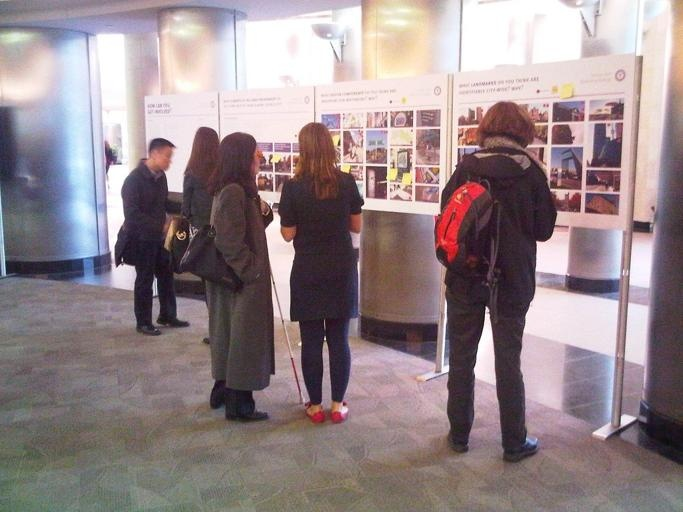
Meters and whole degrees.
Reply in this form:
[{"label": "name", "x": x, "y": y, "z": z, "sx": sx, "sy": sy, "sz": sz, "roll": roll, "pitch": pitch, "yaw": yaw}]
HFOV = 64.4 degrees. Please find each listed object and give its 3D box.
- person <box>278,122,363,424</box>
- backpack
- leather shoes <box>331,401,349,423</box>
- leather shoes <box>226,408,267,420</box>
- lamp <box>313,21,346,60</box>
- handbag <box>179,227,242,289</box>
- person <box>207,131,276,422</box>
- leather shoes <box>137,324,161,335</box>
[{"label": "person", "x": -0.129, "y": 0.125, "z": 3.275, "sx": 0.490, "sy": 1.824, "sz": 0.278, "roll": 0, "pitch": 10, "yaw": 1}, {"label": "backpack", "x": 0.644, "y": -0.113, "z": 2.801, "sx": 0.312, "sy": 0.522, "sz": 0.138, "roll": 2, "pitch": 10, "yaw": 9}, {"label": "leather shoes", "x": -0.021, "y": 0.983, "z": 3.401, "sx": 0.062, "sy": 0.062, "sz": 0.155, "roll": 0, "pitch": 7, "yaw": 3}, {"label": "leather shoes", "x": -0.603, "y": 0.985, "z": 3.423, "sx": 0.251, "sy": 0.073, "sz": 0.093, "roll": 0, "pitch": 7, "yaw": -9}, {"label": "lamp", "x": -0.185, "y": -3.369, "z": 8.642, "sx": 0.429, "sy": 0.514, "sz": 0.422, "roll": 6, "pitch": -8, "yaw": 5}, {"label": "handbag", "x": -0.775, "y": -0.006, "z": 3.217, "sx": 0.336, "sy": 0.328, "sz": 0.167, "roll": 20, "pitch": -2, "yaw": 43}, {"label": "person", "x": -0.632, "y": 0.156, "z": 3.275, "sx": 0.424, "sy": 1.770, "sz": 0.379, "roll": 0, "pitch": 10, "yaw": -3}, {"label": "leather shoes", "x": -1.804, "y": 0.682, "z": 5.074, "sx": 0.223, "sy": 0.093, "sz": 0.098, "roll": 0, "pitch": 2, "yaw": 25}]
